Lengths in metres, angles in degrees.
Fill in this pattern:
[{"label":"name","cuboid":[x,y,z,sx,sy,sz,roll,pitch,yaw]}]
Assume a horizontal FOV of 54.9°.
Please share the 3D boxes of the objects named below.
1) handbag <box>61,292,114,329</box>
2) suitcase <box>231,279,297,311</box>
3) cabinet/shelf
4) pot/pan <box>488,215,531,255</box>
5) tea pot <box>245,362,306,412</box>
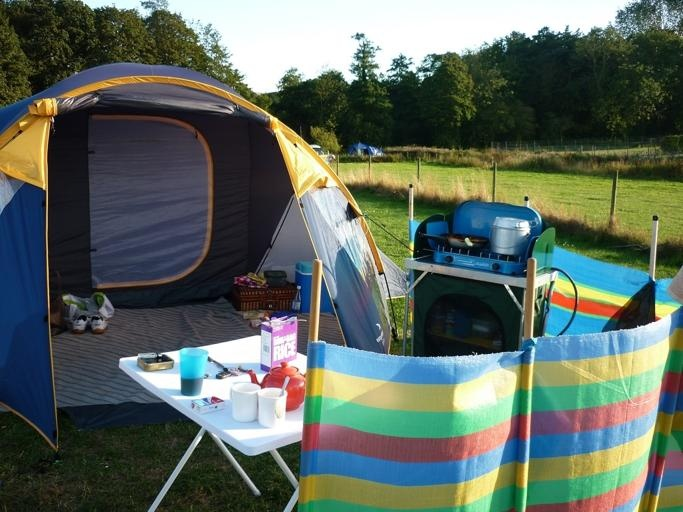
[{"label":"handbag","cuboid":[-2.637,0.561,6.981,0.483,0.306,0.507,-9,23,-37]},{"label":"suitcase","cuboid":[-0.921,0.387,7.761,0.594,0.331,0.647,1,17,-27]},{"label":"cabinet/shelf","cuboid":[1.169,0.042,5.953,1.398,1.494,0.833,9,10,41]},{"label":"pot/pan","cuboid":[1.428,-0.172,5.579,0.277,0.296,0.301,7,14,23]},{"label":"tea pot","cuboid":[-0.349,0.658,3.693,0.320,0.253,0.381,-7,18,-31]}]
